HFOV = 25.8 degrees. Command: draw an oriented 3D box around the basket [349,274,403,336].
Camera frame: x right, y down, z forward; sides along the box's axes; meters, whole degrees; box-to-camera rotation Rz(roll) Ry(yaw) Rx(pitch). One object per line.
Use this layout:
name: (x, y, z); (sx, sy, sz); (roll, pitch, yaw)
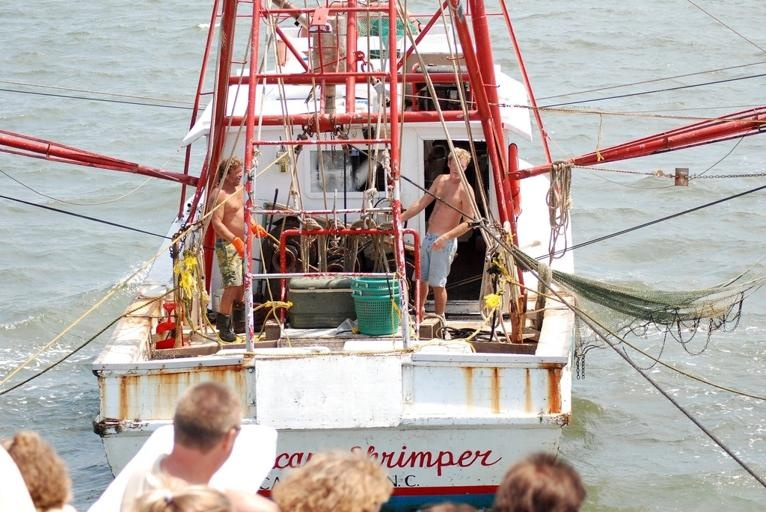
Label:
basket: (-0.098, 0.721, 24.913); (0.950, 0.839, 0.682); (-1, 93, 12)
